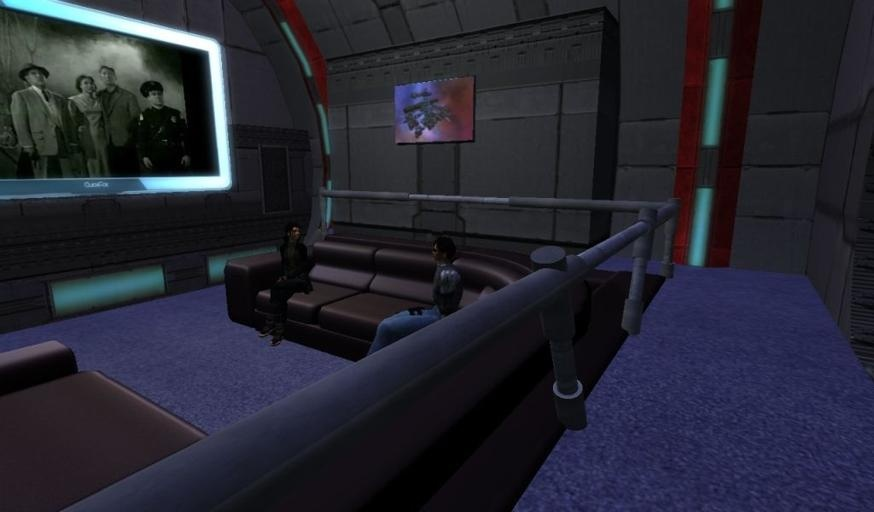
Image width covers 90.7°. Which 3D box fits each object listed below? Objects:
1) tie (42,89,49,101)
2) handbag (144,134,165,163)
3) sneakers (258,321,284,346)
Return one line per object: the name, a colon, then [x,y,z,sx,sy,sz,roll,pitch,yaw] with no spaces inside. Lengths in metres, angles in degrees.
tie: [-4.870,-1.986,5.346,0.032,0.132,0.038,-1,0,33]
handbag: [-4.018,-1.510,6.132,0.348,0.313,0.327,19,25,41]
sneakers: [-1.867,0.868,4.879,0.214,0.126,0.317,5,7,13]
